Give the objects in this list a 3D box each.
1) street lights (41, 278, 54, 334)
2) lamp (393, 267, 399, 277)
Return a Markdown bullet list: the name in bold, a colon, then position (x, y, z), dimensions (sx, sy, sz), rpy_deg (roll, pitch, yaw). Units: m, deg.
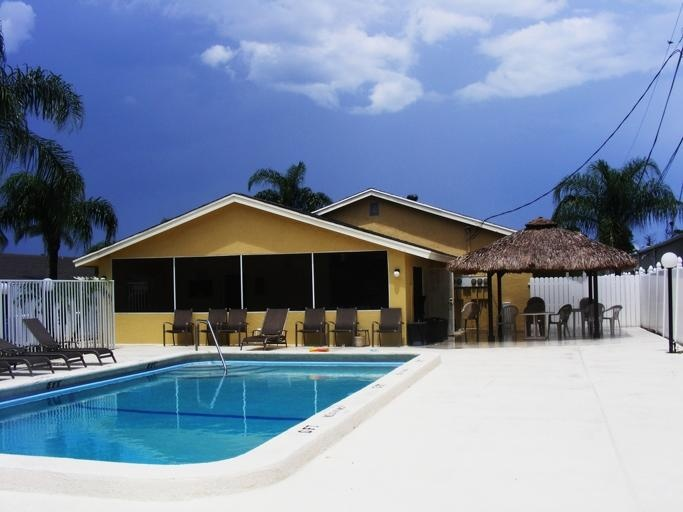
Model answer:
- **street lights**: position (-7.323, 1.250, 16.192), dimensions (0.195, 1.191, 0.266), rpy_deg (-1, 2, 7)
- **lamp**: position (1.414, 0.444, 16.577), dimensions (0.156, 0.240, 0.080), rpy_deg (-1, -4, 3)
